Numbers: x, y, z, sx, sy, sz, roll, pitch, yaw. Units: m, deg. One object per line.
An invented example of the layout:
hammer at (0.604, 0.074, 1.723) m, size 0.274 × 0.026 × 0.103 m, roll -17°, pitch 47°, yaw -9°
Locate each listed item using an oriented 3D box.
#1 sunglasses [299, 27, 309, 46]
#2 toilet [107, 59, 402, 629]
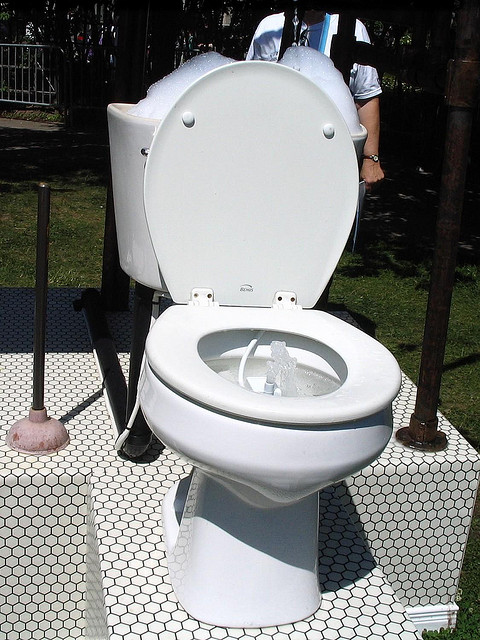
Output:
sunglasses at (0.196, -0.876, 1.638) m, size 0.021 × 0.085 × 0.030 m, roll 4°, pitch -18°, yaw 1°
toilet at (0.002, 0.005, 1.013) m, size 0.365 × 0.941 × 0.764 m, roll -2°, pitch 16°, yaw -14°
